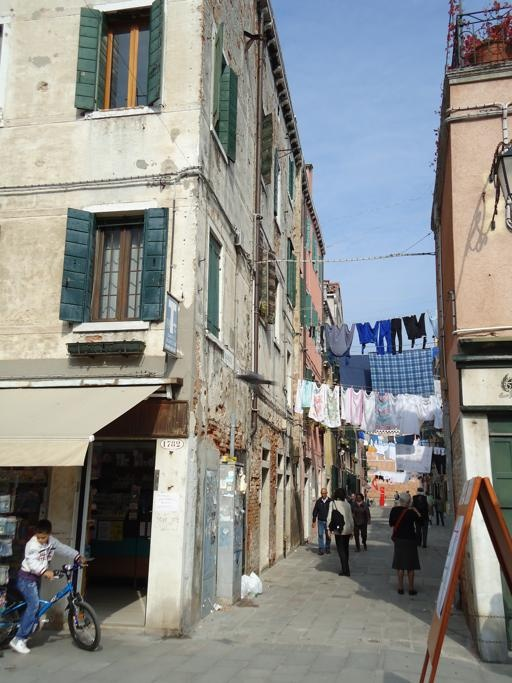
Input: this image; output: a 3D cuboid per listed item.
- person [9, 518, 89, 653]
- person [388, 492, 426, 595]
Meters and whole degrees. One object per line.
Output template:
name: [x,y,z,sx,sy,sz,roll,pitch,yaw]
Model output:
person: [-2.188,2.495,5.391,0.552,1.250,0.583,-3,-6,34]
person: [2.561,3.376,9.078,0.432,1.861,0.451,0,12,19]
